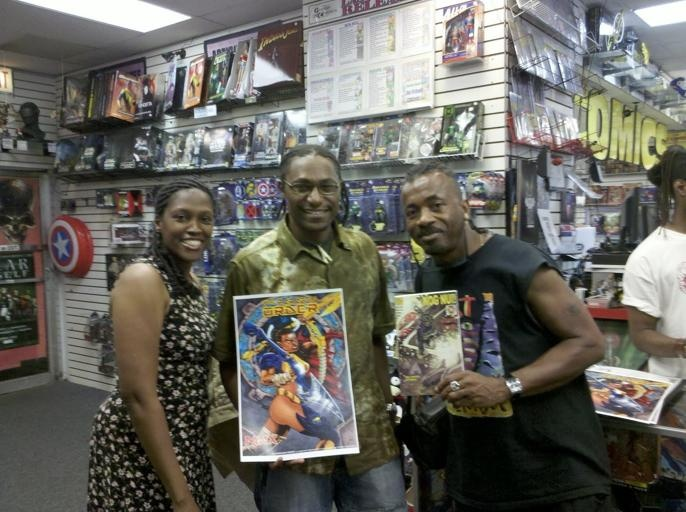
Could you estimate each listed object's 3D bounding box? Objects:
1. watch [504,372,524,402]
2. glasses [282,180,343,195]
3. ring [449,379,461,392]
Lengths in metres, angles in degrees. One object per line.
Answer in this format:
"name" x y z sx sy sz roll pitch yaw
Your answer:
"watch" 0.632 0.478 1.764 0.060 0.079 0.075 -7 12 4
"glasses" -0.122 -0.277 1.966 0.210 0.055 0.051 -3 5 -8
"ring" 0.417 0.477 1.778 0.038 0.038 0.015 -2 5 5
